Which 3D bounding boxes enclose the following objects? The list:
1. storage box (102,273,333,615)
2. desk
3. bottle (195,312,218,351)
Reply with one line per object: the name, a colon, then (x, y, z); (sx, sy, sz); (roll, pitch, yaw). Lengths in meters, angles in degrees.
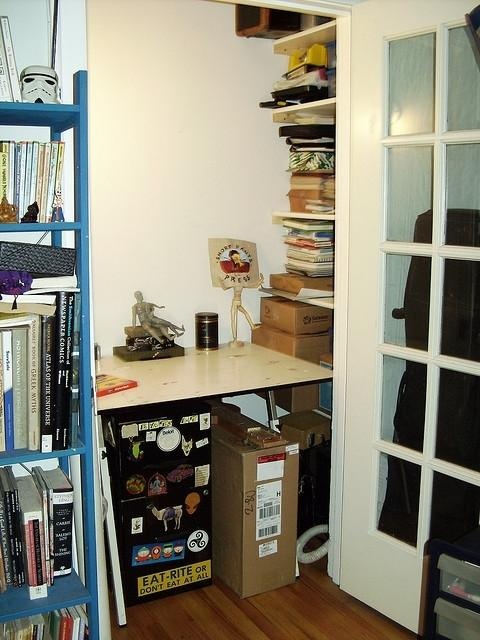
storage box: (-0.092, 0.399, 2.358); (1.091, 1.093, 0.789); (-5, 9, -35)
desk: (-0.167, 0.571, 2.393); (0.927, 0.929, 0.935); (-6, 15, -19)
bottle: (-0.165, 0.050, 2.768); (0.157, 0.246, 0.166); (0, 9, 0)
